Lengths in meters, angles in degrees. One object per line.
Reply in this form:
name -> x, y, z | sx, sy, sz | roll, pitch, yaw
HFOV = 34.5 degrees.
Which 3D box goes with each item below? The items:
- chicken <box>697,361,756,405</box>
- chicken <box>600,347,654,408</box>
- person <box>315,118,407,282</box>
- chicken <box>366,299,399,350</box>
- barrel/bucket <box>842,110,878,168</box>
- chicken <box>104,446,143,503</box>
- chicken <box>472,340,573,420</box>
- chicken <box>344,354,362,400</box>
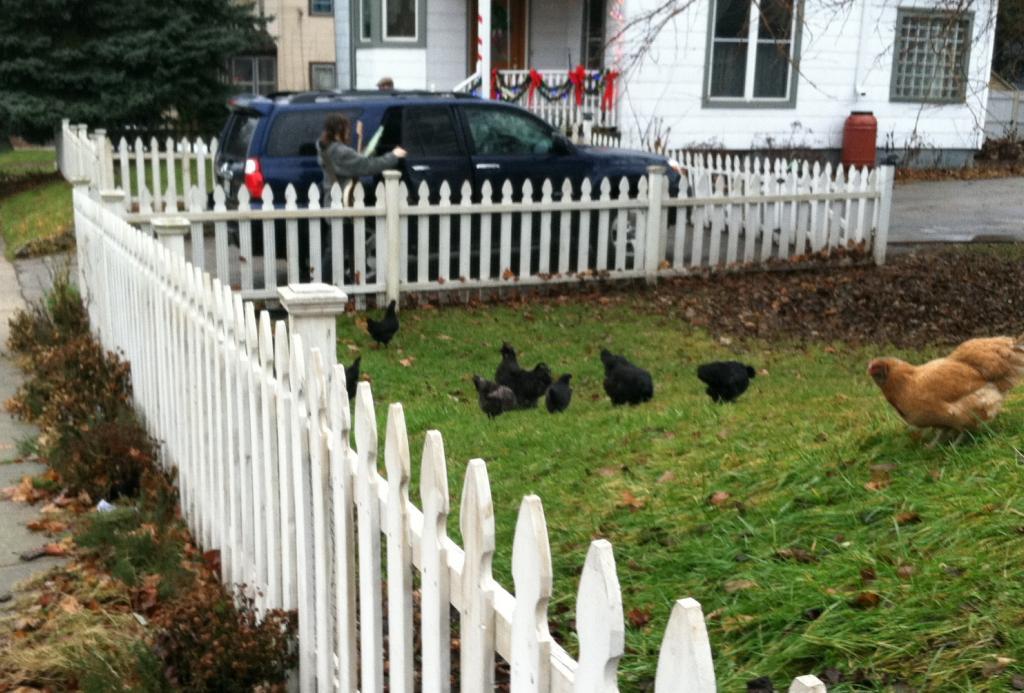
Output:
chicken -> 2.528, 0.431, 19.410 | 0.656, 0.469, 0.367 | 1, 10, -4
chicken -> 1.368, 0.406, 19.735 | 0.628, 0.623, 0.345 | 4, 10, 10
person -> -2.174, -2.156, 22.996 | 1.048, 2.337, 1.148 | -13, 27, -31
chicken -> -1.704, -0.318, 21.524 | 0.395, 0.611, 0.458 | 1, 10, -6
barrel/bucket -> 7.149, -4.250, 33.821 | 0.652, 1.269, 0.710 | 1, 10, 0
chicken -> -4.253, 1.427, 18.172 | 0.309, 0.540, 0.456 | 8, 12, 34
chicken -> 0.119, 0.430, 19.877 | 1.163, 0.720, 0.740 | 2, 10, -2
chicken -> -1.833, 0.363, 18.903 | 0.183, 0.476, 0.638 | 3, -26, -12
